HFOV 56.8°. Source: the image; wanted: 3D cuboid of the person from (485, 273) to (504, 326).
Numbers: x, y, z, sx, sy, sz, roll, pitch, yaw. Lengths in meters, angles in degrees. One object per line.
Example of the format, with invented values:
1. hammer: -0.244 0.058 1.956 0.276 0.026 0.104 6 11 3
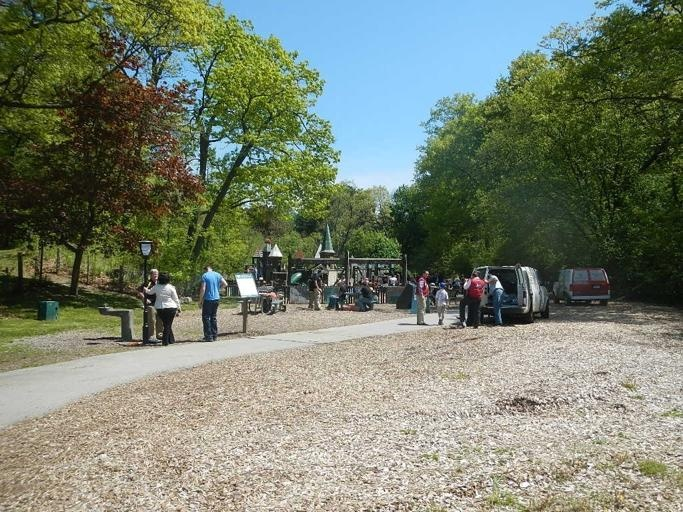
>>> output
1. person: 5.101 1.467 20.911 0.493 1.787 1.354 2 7 15

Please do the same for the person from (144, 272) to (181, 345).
1. person: -4.492 1.341 16.200 0.788 1.894 0.980 -4 7 -27

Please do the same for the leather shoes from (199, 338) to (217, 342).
1. leather shoes: -3.540 2.248 16.851 0.415 0.174 0.142 -2 -3 11

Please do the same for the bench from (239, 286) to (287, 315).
1. bench: -3.269 1.920 27.101 1.460 1.189 1.169 1 -4 12
